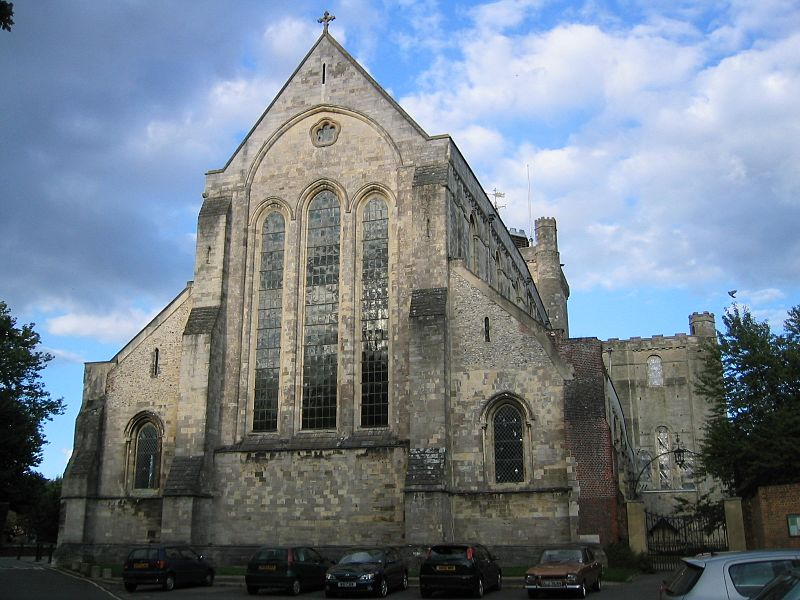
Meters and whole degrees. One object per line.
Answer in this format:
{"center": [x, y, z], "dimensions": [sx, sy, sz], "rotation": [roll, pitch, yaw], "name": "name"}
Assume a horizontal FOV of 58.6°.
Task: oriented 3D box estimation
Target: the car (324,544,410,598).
{"center": [-1.133, 9.727, 25.578], "dimensions": [1.844, 1.644, 3.020], "rotation": [-17, -26, 34], "name": "car"}

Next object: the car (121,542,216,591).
{"center": [-9.246, 10.552, 28.858], "dimensions": [1.865, 1.508, 3.114], "rotation": [-9, -18, 24], "name": "car"}

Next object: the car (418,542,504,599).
{"center": [2.361, 9.462, 25.219], "dimensions": [1.493, 1.203, 3.137], "rotation": [-6, -18, 21], "name": "car"}

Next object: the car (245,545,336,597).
{"center": [-4.145, 9.984, 26.460], "dimensions": [1.386, 1.686, 2.882], "rotation": [-20, -27, 40], "name": "car"}

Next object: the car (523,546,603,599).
{"center": [5.522, 9.268, 24.568], "dimensions": [1.776, 1.716, 2.821], "rotation": [-13, -24, 28], "name": "car"}
